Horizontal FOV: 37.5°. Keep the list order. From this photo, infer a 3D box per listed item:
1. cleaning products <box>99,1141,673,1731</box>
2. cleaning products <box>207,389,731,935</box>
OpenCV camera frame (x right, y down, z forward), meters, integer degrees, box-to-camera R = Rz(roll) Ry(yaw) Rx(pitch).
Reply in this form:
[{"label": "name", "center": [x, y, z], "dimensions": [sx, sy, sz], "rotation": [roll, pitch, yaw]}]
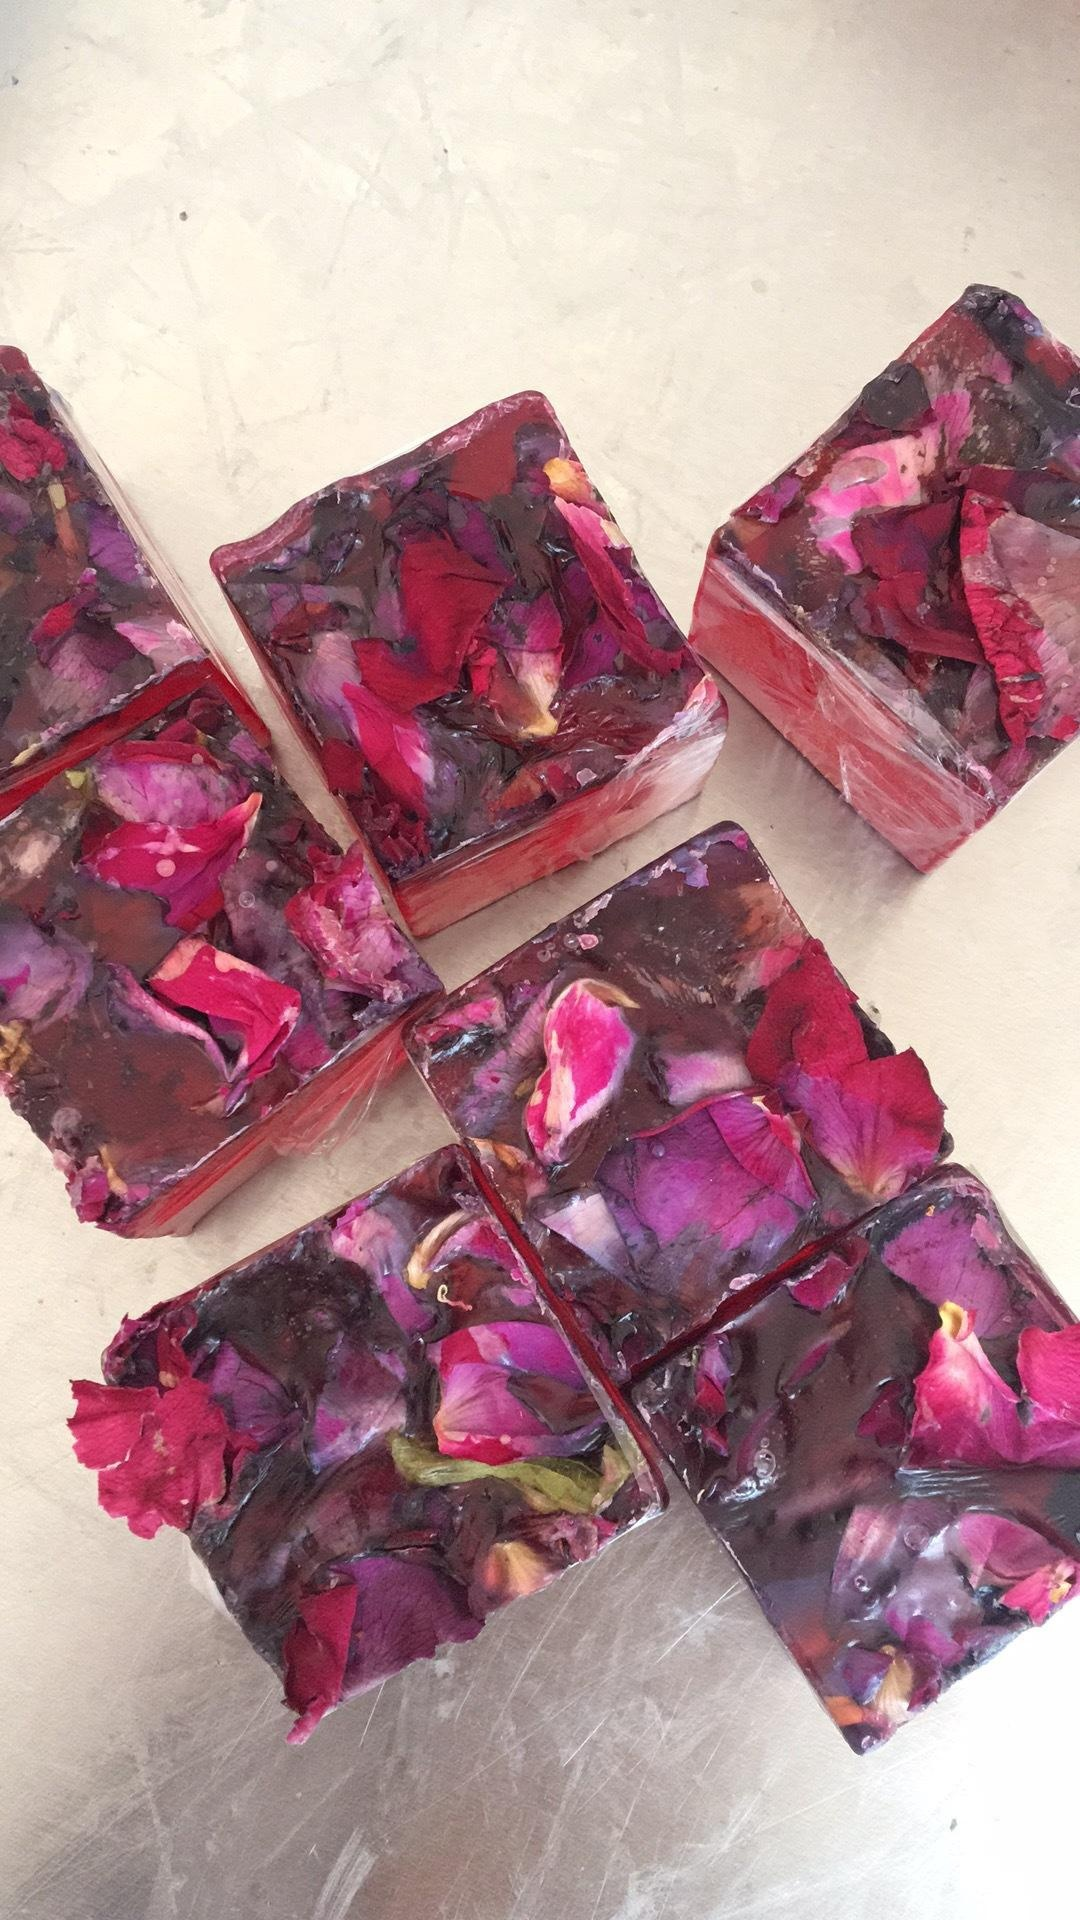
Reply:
[{"label": "cleaning products", "center": [-0.097, 0.264, 0.857], "dimensions": [0.284, 0.223, 0.150], "rotation": [-4, 17, -18]}, {"label": "cleaning products", "center": [-0.060, -0.159, 1.012], "dimensions": [0.168, 0.297, 0.280], "rotation": [-33, 36, -6]}]
